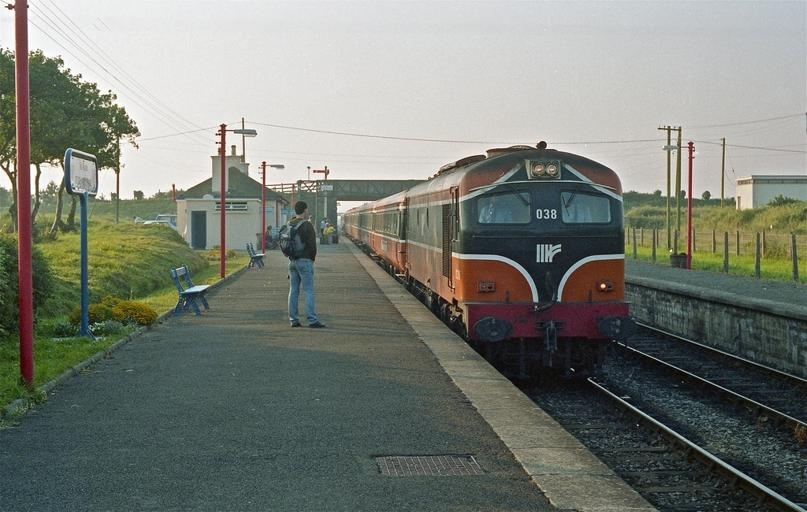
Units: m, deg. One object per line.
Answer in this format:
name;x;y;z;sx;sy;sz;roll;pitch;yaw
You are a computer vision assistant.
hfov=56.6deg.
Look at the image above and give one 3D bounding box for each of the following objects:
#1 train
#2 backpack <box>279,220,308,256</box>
train;2.163;-0.196;17.062;2.968;4.784;7.224;-1;10;-9
backpack;-2.367;-0.325;15.931;0.538;0.855;0.325;0;9;-8
